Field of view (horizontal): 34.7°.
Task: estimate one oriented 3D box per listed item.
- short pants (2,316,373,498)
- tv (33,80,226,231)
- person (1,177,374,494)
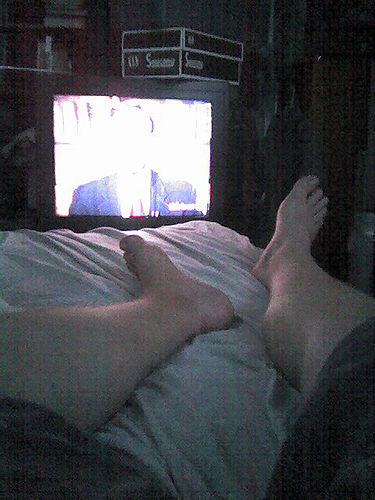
[{"bbox_3d":[-0.005,0.209,0.734,0.485,0.232,0.179,3,8,-1],"label":"short pants"},{"bbox_3d":[-0.116,-0.402,2.536,0.852,0.559,0.456,6,12,28],"label":"tv"},{"bbox_3d":[0.062,0.143,1.023,0.526,0.285,0.756,5,8,17],"label":"person"}]
